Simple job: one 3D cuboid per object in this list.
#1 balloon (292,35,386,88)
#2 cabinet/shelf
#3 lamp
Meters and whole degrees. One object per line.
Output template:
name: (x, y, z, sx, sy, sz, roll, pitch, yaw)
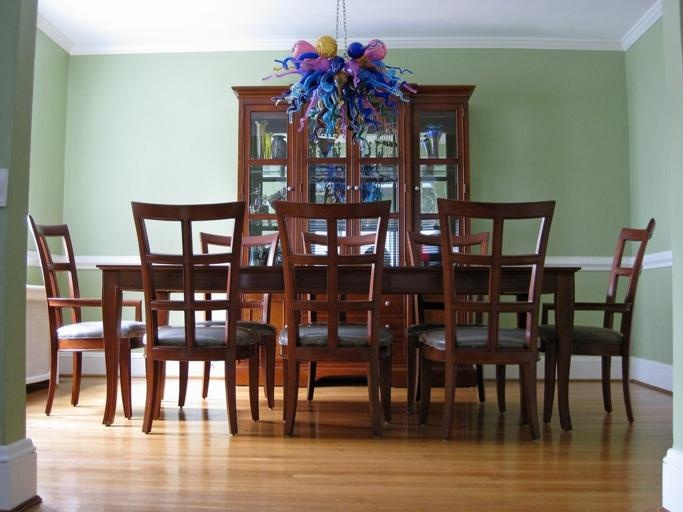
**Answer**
balloon: (-0.021, -1.215, 4.262, 0.574, 0.284, 0.151, 1, 5, 9)
cabinet/shelf: (0.084, -0.116, 4.690, 2.215, 2.889, 0.757, 0, -2, 1)
lamp: (0.053, -1.048, 4.966, 1.199, 1.748, 1.084, 0, 9, 7)
